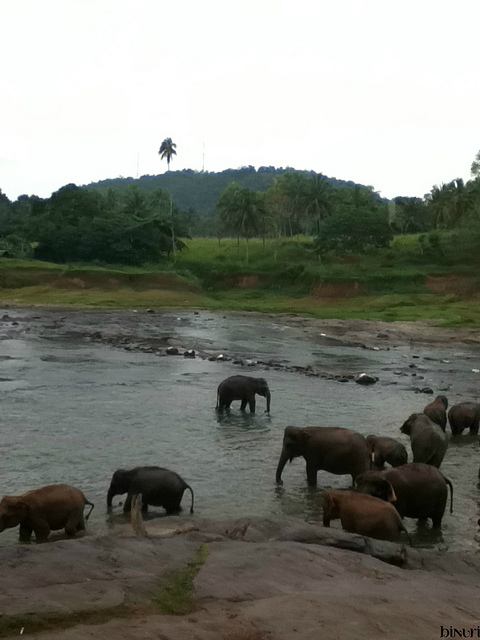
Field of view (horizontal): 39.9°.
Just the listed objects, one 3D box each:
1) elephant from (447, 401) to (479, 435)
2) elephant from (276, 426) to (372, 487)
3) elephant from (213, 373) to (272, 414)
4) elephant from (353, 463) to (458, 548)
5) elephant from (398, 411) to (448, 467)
[{"bbox_3d":[4.524,2.022,13.395,0.616,0.600,0.790,2,2,15],"label":"elephant"},{"bbox_3d":[1.298,2.135,10.085,1.509,0.856,0.618,3,-1,16],"label":"elephant"},{"bbox_3d":[0.070,1.630,14.814,1.299,0.836,1.580,1,1,2],"label":"elephant"},{"bbox_3d":[1.953,2.349,8.377,1.929,0.866,0.795,5,-7,-29],"label":"elephant"},{"bbox_3d":[3.006,1.928,10.876,0.607,0.670,1.392,3,9,-3],"label":"elephant"}]
